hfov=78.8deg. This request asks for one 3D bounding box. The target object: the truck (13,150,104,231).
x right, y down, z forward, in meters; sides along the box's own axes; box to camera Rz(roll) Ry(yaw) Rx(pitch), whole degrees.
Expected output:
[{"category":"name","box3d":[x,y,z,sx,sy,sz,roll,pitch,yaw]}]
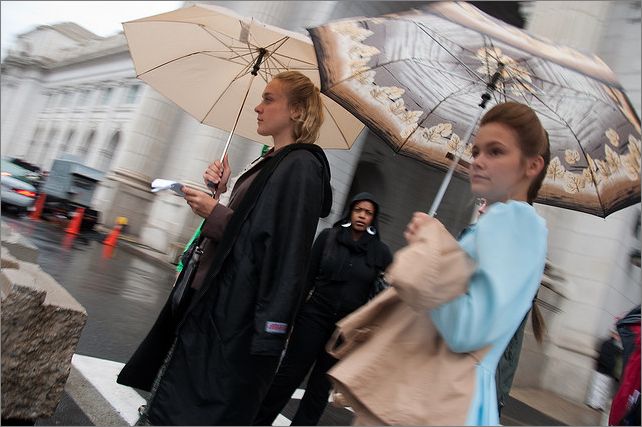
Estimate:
[{"category":"truck","box3d":[-11.546,-1.024,17.790,3.436,1.955,1.982,9,-9,38]}]
